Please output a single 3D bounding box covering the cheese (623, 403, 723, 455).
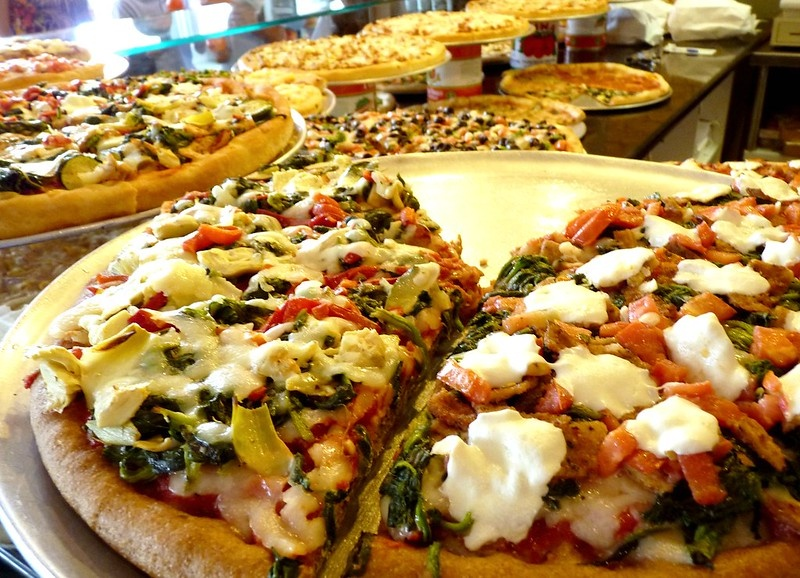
[{"bbox_3d":[0.701,0.363,1.605,0.212,0.070,0.163,-14,34,-18],"label":"cheese"}]

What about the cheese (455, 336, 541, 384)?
[{"bbox_3d":[0.279,0.183,1.796,0.179,0.048,0.175,16,38,42],"label":"cheese"}]

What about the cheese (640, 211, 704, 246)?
[{"bbox_3d":[1.015,-0.252,2.385,0.159,0.056,0.147,-7,29,-23],"label":"cheese"}]

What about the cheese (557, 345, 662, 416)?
[{"bbox_3d":[0.562,0.259,1.730,0.225,0.052,0.179,23,37,27],"label":"cheese"}]

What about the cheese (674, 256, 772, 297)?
[{"bbox_3d":[1.083,-0.042,2.140,0.195,0.040,0.173,-2,18,-25],"label":"cheese"}]

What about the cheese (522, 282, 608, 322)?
[{"bbox_3d":[0.543,0.040,2.040,0.193,0.044,0.163,6,21,11],"label":"cheese"}]
